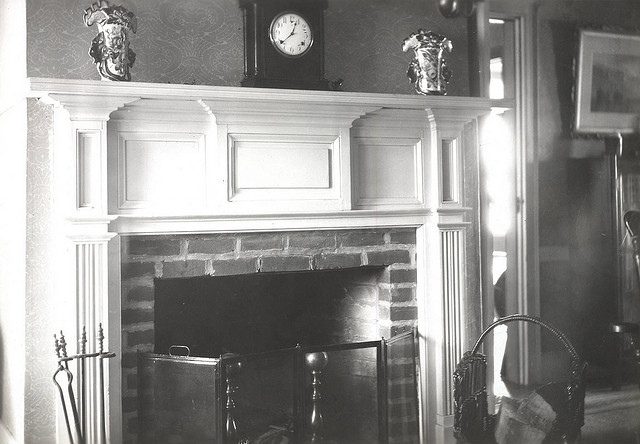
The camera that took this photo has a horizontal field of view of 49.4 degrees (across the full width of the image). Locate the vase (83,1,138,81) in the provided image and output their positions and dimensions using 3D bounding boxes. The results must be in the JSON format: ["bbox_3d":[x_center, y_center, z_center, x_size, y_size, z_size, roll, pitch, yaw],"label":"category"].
[{"bbox_3d":[-0.940,-0.815,3.140,0.220,0.355,0.084,-1,-6,-18],"label":"vase"}]

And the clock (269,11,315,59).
[{"bbox_3d":[-0.147,-0.901,3.360,0.244,0.240,0.033,-1,0,-23],"label":"clock"}]

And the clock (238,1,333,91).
[{"bbox_3d":[-0.179,-0.850,3.368,0.493,0.541,0.281,0,0,-21],"label":"clock"}]

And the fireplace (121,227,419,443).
[{"bbox_3d":[-0.220,0.604,3.516,1.505,1.110,0.425,-1,-6,-17],"label":"fireplace"}]
